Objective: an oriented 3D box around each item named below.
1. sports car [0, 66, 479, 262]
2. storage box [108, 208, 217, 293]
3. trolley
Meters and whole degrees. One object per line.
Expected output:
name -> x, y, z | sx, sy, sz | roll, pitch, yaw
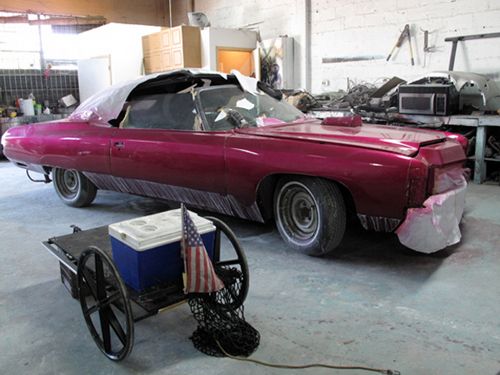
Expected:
sports car -> -0.458, -0.410, 3.836 | 4.793, 1.068, 1.954 | 6, 17, 27
storage box -> -0.560, 0.365, 2.160 | 0.595, 0.257, 0.442 | -7, 14, -36
trolley -> -0.726, 0.429, 2.235 | 1.443, 0.567, 0.785 | 19, 24, 39
